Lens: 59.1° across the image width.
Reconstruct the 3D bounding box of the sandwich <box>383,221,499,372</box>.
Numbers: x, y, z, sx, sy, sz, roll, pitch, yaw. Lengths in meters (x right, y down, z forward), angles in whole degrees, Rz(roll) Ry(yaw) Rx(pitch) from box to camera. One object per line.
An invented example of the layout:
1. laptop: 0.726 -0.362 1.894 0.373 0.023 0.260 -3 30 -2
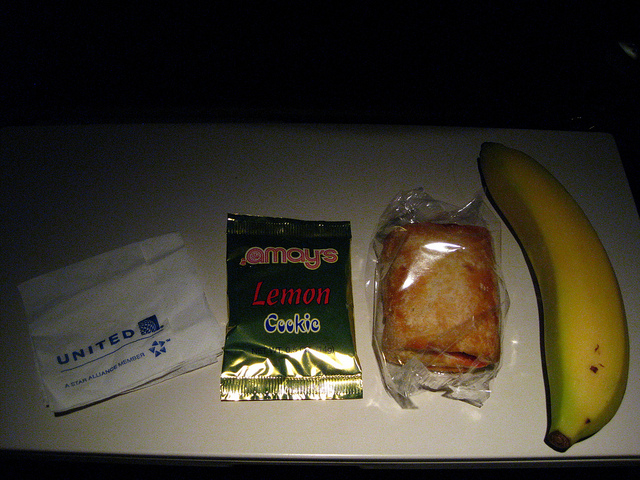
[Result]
1. sandwich: 0.245 0.103 1.103 0.231 0.293 0.086 0 -17 3
